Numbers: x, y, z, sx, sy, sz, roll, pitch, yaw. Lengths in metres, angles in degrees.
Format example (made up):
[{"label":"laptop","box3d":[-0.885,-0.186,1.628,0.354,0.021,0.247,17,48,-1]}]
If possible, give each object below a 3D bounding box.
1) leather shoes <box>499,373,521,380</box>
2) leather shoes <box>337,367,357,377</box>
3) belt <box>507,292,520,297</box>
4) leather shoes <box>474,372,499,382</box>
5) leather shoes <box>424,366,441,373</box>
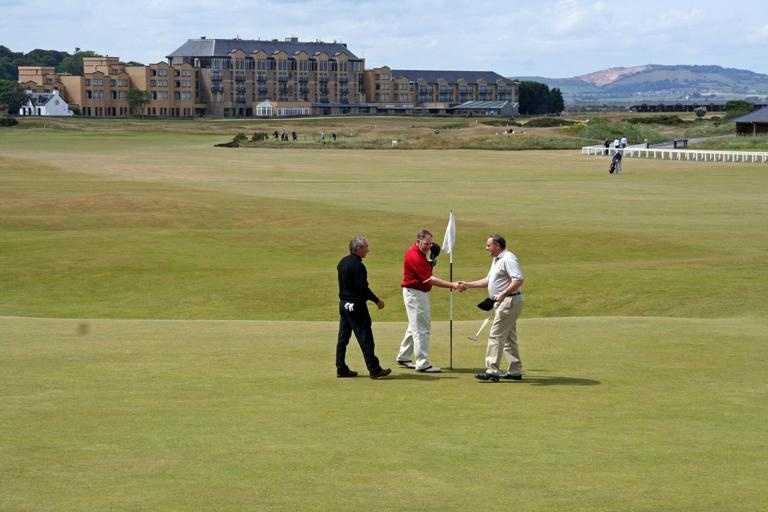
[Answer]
[{"label":"leather shoes","box3d":[3.767,3.735,45.375,0.655,0.217,0.202,6,4,19]},{"label":"leather shoes","box3d":[-1.176,3.631,45.255,0.703,0.227,0.233,-1,3,-29]},{"label":"belt","box3d":[3.874,1.216,45.092,0.450,0.141,0.144,-7,11,-39]},{"label":"leather shoes","box3d":[3.024,3.760,45.200,0.745,0.254,0.237,6,-2,0]},{"label":"leather shoes","box3d":[1.408,3.569,45.719,0.603,0.194,0.177,0,-1,0]}]
